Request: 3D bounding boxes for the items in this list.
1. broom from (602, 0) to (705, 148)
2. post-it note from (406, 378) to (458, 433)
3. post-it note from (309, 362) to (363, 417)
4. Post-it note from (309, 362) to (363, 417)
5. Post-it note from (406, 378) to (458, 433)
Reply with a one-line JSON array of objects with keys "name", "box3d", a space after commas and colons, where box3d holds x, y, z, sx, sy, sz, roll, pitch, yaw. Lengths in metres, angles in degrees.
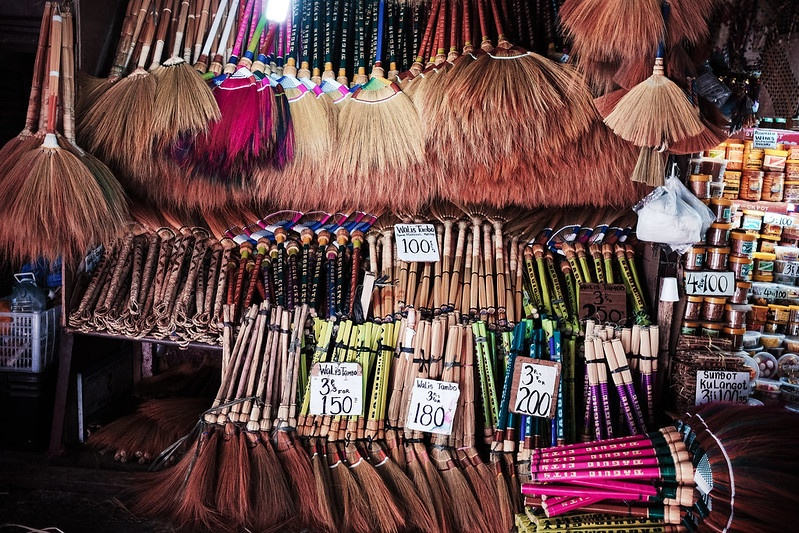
[{"name": "broom", "box3d": [1.137, -0.988, 3.658, 0.565, 0.672, 0.592, -1, 25, 0]}, {"name": "post-it note", "box3d": [0.172, 0.723, 3.749, 0.237, 0.255, 0.032, 10, -5, 5]}, {"name": "post-it note", "box3d": [-0.332, 0.646, 3.792, 0.260, 0.259, 0.036, 1, -5, -1]}, {"name": "Post-it note", "box3d": [-0.332, 0.646, 3.792, 0.260, 0.259, 0.036, 1, -5, -1]}, {"name": "Post-it note", "box3d": [0.172, 0.723, 3.749, 0.237, 0.255, 0.032, 10, -5, 5]}]
